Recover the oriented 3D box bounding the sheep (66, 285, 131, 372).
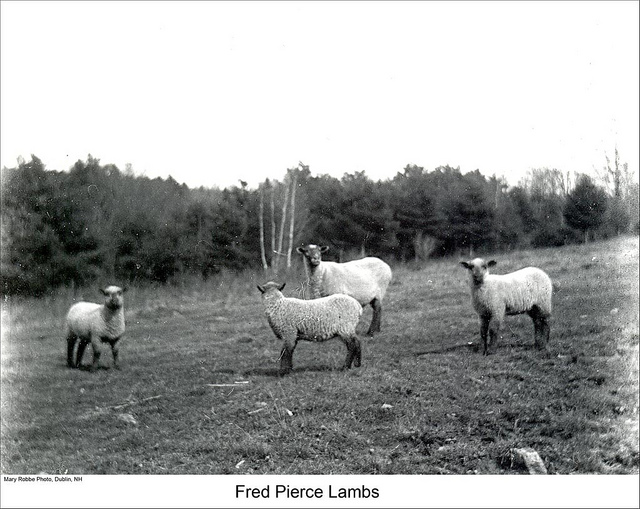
[{"bbox_3d":[-2.089,0.698,7.127,0.820,0.784,0.317,-2,-2,36],"label":"sheep"}]

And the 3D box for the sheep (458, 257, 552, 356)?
[{"bbox_3d":[1.802,0.474,7.279,0.860,0.936,0.441,-3,4,-12],"label":"sheep"}]

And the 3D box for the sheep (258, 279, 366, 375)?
[{"bbox_3d":[-0.065,0.682,6.982,0.985,0.774,0.275,0,11,-2],"label":"sheep"}]

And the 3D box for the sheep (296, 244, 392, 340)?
[{"bbox_3d":[0.235,0.413,7.361,1.113,0.885,0.488,6,-4,-36],"label":"sheep"}]
